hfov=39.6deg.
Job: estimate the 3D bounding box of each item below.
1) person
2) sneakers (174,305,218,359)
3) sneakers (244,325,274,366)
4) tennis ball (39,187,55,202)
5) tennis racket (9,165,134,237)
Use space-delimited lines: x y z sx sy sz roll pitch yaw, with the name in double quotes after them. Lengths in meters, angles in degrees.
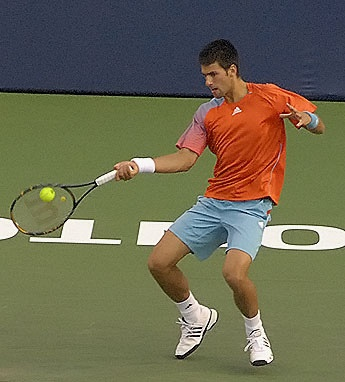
0.269 0.044 2.687 0.869 1.786 0.690 3 12 13 "person"
0.118 0.829 2.865 0.374 0.178 0.127 -47 12 -30 "sneakers"
0.465 0.813 2.577 0.143 0.113 0.278 -17 14 10 "sneakers"
-0.732 0.018 2.879 0.090 0.088 0.085 17 12 -4 "tennis ball"
-0.615 0.001 3.132 0.075 0.308 1.063 -12 13 34 "tennis racket"
